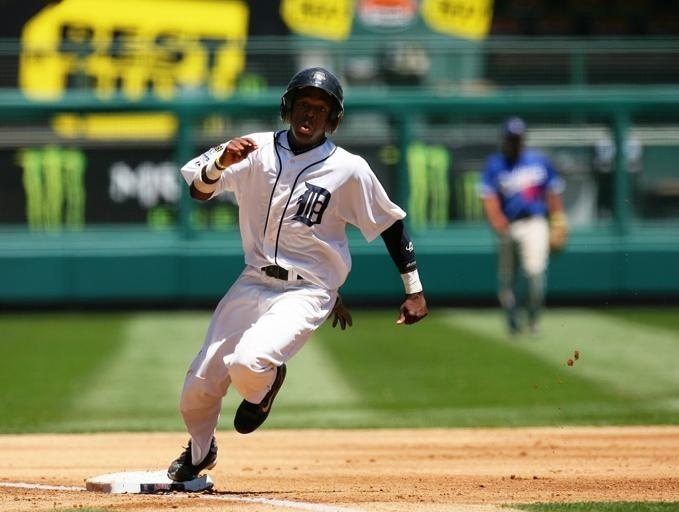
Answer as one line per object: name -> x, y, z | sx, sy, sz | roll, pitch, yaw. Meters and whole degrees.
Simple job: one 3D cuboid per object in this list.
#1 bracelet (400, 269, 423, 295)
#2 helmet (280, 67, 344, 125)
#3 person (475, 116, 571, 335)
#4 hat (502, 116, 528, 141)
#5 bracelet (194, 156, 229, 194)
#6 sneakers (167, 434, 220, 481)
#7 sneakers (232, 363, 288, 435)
bracelet -> 0.518, 0.197, 9.235 | 0.143, 0.171, 0.164 | -18, -8, -27
helmet -> -0.170, -1.157, 9.173 | 0.344, 0.327, 0.393 | 10, 17, 0
person -> 1.662, -0.239, 11.644 | 0.774, 2.002, 0.506 | 2, 15, 7
hat -> 1.580, -1.152, 11.596 | 0.177, 0.182, 0.173 | -26, 8, -7
bracelet -> -0.871, -0.542, 9.036 | 0.095, 0.237, 0.205 | 26, 19, -40
sneakers -> -1.051, 1.496, 9.243 | 0.499, 0.255, 0.178 | -18, 23, -41
sneakers -> -0.544, 1.086, 9.079 | 0.226, 0.638, 0.233 | 28, 17, 23
